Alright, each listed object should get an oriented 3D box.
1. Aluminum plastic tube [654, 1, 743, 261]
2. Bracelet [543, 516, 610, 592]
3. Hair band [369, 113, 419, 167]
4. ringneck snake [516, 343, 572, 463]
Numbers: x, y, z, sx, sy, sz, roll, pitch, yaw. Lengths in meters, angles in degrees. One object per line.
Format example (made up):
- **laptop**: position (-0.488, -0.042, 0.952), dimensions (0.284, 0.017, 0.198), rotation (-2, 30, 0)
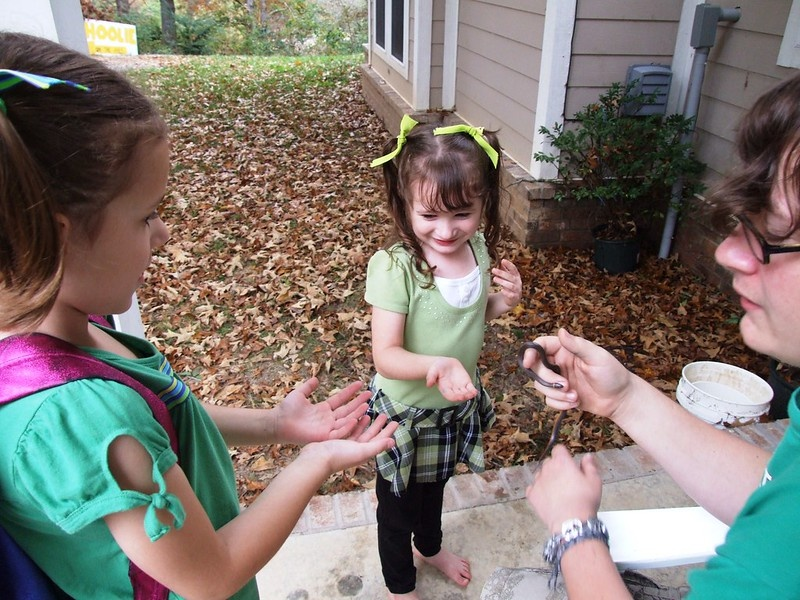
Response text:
- **Aluminum plastic tube**: position (2.633, -1.392, 4.845), dimensions (0.324, 2.123, 0.293), rotation (17, 30, 33)
- **Bracelet**: position (0.490, 0.673, 1.520), dimensions (0.184, 0.151, 0.091), rotation (-6, 63, 2)
- **Hair band**: position (0.004, -0.635, 2.289), dimensions (0.204, 0.291, 0.314), rotation (-7, 26, -18)
- **ringneck snake**: position (0.491, 0.331, 1.877), dimensions (0.175, 0.116, 0.456), rotation (3, 73, 19)
